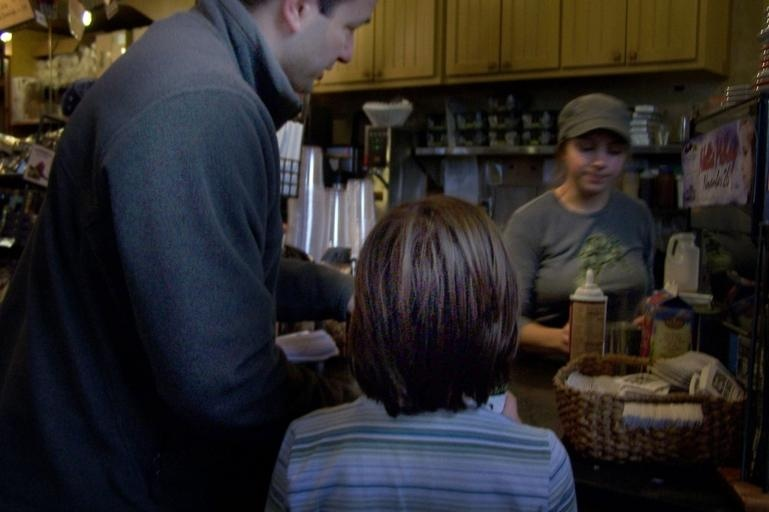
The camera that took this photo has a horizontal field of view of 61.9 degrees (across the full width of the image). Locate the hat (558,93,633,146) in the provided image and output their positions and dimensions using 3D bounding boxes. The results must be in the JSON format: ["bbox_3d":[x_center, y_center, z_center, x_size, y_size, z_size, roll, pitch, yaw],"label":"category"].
[{"bbox_3d":[0.721,-0.471,2.229,0.238,0.168,0.189,-1,7,17],"label":"hat"}]

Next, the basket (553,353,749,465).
[{"bbox_3d":[0.575,0.341,1.436,0.306,0.132,0.240,0,0,5],"label":"basket"}]

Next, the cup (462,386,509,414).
[{"bbox_3d":[0.203,0.292,1.301,0.072,0.070,0.058,7,0,28],"label":"cup"}]
